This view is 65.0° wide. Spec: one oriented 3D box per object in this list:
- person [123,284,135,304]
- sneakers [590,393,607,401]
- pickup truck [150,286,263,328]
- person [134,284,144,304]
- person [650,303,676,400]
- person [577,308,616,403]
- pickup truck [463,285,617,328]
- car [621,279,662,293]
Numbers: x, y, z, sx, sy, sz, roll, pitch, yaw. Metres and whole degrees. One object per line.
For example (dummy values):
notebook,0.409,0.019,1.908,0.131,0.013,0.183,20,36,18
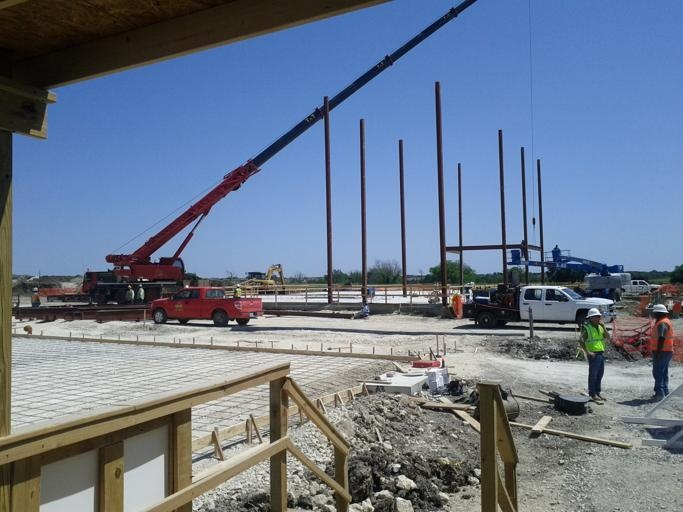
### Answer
person,-13.102,2.339,33.288,0.627,1.201,0.993,-1,-3,-25
sneakers,5.176,2.820,10.788,0.220,0.118,0.410,-4,-4,42
pickup truck,-6.107,2.196,24.517,4.553,1.448,2.054,2,-1,18
person,-12.543,2.335,33.515,0.558,1.174,1.355,-1,-3,-21
person,6.484,1.918,10.890,0.399,1.820,1.307,-4,-3,29
person,5.226,2.014,11.116,0.520,1.771,1.101,-3,-3,24
pickup truck,7.675,1.991,21.293,5.350,1.532,2.232,-4,-2,30
car,24.946,2.540,44.929,3.376,1.093,1.394,-3,1,-2
